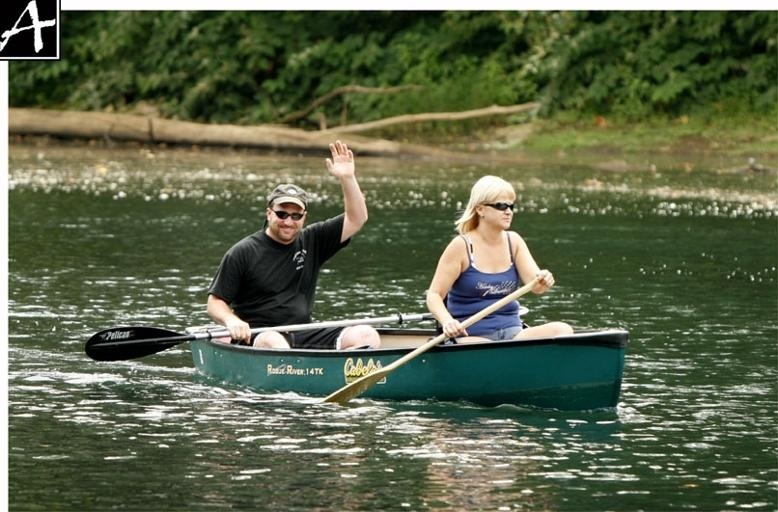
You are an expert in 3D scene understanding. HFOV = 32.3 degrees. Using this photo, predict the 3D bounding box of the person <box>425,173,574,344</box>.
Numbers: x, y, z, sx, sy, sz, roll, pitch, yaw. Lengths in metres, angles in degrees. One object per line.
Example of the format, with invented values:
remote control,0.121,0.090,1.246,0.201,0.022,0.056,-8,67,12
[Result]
person,1.066,0.040,14.171,1.304,1.763,0.620,1,5,1

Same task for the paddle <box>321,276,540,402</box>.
paddle,0.477,0.957,14.588,3.053,0.287,0.144,-23,-34,3

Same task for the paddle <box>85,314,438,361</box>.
paddle,-1.381,0.927,14.864,3.886,0.368,0.370,-2,16,2

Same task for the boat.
boat,-0.275,1.256,14.618,5.863,0.726,1.345,0,-1,16

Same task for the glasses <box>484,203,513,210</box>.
glasses,1.167,-0.520,14.172,0.326,0.089,0.151,0,3,-15

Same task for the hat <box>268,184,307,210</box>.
hat,-1.105,-0.635,14.562,0.400,0.272,0.279,1,4,-7
